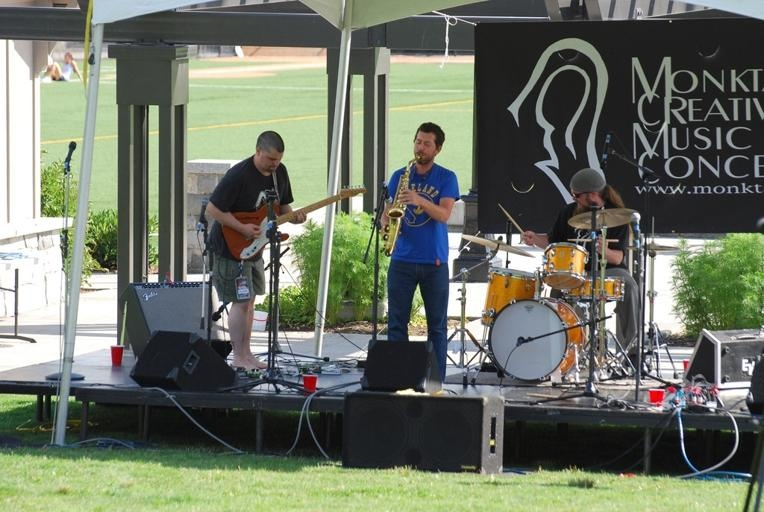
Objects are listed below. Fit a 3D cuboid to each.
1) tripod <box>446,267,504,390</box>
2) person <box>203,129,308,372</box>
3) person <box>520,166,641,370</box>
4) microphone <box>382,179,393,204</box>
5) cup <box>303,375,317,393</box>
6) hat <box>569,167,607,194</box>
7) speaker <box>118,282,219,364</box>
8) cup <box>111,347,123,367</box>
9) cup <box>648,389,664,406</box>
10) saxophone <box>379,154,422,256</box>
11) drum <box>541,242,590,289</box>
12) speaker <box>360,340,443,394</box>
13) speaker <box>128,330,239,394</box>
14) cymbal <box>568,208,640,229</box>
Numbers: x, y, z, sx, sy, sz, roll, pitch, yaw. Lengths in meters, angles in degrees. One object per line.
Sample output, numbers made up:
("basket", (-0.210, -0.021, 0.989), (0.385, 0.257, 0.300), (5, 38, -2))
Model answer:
("tripod", (0.945, 0.723, 11.989), (0.554, 1.149, 0.468), (2, -2, 6))
("person", (-1.353, -0.055, 11.528), (0.908, 2.414, 1.044), (1, 1, 44))
("person", (2.257, 0.093, 11.721), (1.038, 2.079, 1.416), (1, 0, -12))
("microphone", (0.055, -0.622, 11.115), (0.130, 0.181, 0.092), (-8, -1, -31))
("cup", (-0.661, 1.172, 10.640), (0.135, 0.134, 0.136), (0, -7, 0))
("hat", (2.081, -0.734, 11.548), (0.330, 0.253, 0.290), (3, 10, 12))
("speaker", (-2.211, 0.600, 11.582), (0.555, 0.822, 0.767), (8, -1, -4))
("cup", (-2.666, 0.996, 11.541), (0.103, 0.191, 0.088), (-2, 10, -10))
("cup", (2.496, 1.275, 10.422), (0.133, 0.104, 0.131), (0, -2, 0))
("saxophone", (0.188, -0.467, 11.048), (0.315, 0.949, 0.524), (3, 10, 15))
("drum", (1.816, 0.095, 11.130), (0.433, 0.311, 0.414), (12, -18, 4))
("speaker", (0.142, 0.975, 10.219), (0.501, 0.367, 0.508), (1, -2, 10))
("speaker", (-1.834, 0.961, 10.600), (0.946, 0.528, 0.181), (1, 10, 4))
("cymbal", (2.163, -0.352, 11.145), (0.347, 0.080, 0.338), (8, -23, -25))
